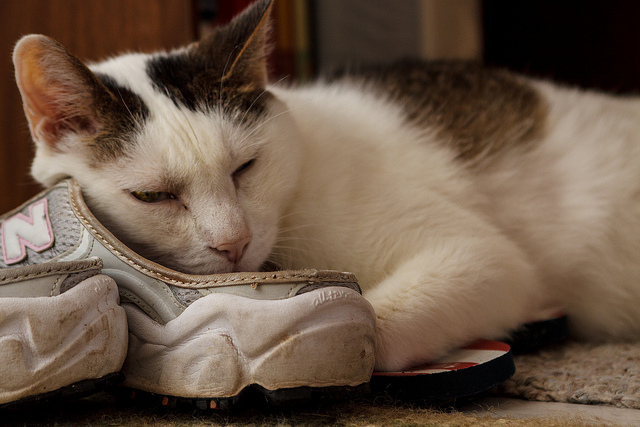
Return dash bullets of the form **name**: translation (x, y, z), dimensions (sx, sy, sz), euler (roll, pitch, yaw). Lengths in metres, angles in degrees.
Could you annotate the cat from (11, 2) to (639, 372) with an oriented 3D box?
- **cat**: translation (0.059, 0.022, 2.192), dimensions (2.075, 1.156, 0.721), euler (-4, -13, 0)
